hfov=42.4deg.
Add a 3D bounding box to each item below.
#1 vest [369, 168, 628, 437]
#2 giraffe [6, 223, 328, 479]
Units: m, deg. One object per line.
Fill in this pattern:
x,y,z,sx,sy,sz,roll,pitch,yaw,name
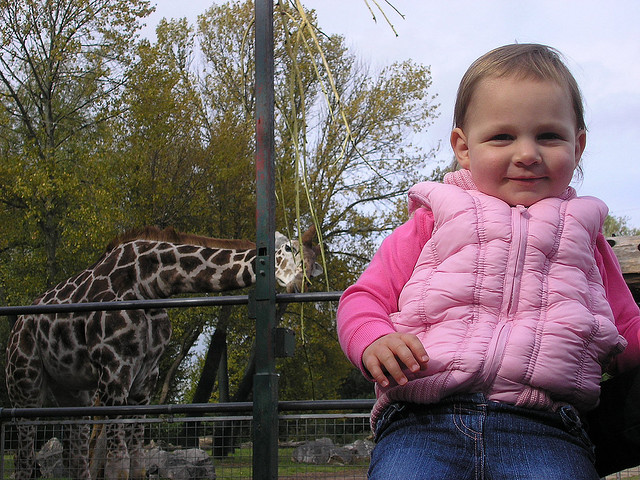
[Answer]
0.923,0.252,3.552,1.190,1.330,0.674,3,-17,15,vest
-1.988,1.100,8.367,2.851,2.683,1.998,-8,-21,36,giraffe
